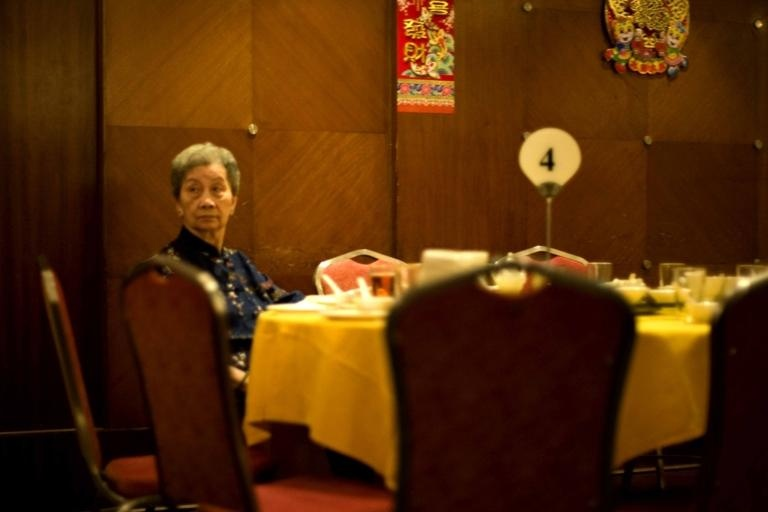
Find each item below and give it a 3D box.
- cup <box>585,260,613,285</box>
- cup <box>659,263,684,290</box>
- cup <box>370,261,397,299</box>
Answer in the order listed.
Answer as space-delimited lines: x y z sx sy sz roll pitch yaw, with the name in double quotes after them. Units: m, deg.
0.947 0.064 2.993 0.125 0.122 0.126 1 4 0 "cup"
1.176 0.084 2.821 0.122 0.120 0.107 0 2 -14 "cup"
0.007 0.103 2.794 0.119 0.120 0.110 1 3 0 "cup"
